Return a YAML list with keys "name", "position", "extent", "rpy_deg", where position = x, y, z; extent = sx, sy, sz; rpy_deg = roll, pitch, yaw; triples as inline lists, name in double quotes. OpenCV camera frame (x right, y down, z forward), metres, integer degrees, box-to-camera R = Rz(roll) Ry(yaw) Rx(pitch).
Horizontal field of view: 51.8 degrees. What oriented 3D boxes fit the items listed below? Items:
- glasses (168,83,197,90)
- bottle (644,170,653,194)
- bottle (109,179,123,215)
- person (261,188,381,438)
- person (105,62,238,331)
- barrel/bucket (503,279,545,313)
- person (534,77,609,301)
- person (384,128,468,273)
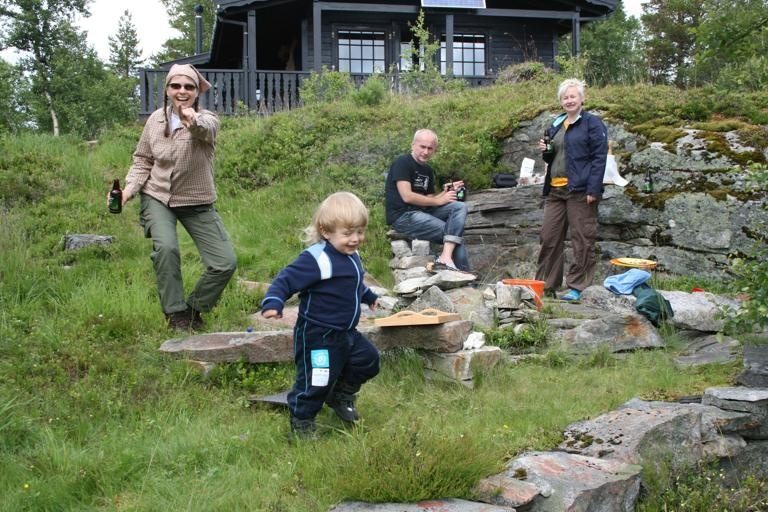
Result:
- name: "glasses"
  position: [-2.648, -2.212, 10.340]
  extent: [0.315, 0.089, 0.056]
  rpy_deg: [1, 7, -15]
- name: "bottle"
  position: [4.624, -1.284, 13.784]
  extent: [0.132, 0.432, 0.145]
  rpy_deg: [-6, 45, 6]
- name: "bottle"
  position: [-3.568, -0.802, 10.490]
  extent: [0.153, 0.437, 0.386]
  rpy_deg: [0, 8, -20]
- name: "person"
  position: [-0.675, 0.633, 8.934]
  extent: [1.211, 2.688, 0.472]
  rpy_deg: [-2, 8, -31]
- name: "person"
  position: [-2.732, -0.786, 10.596]
  extent: [1.458, 3.527, 0.755]
  rpy_deg: [1, 7, -7]
- name: "barrel/bucket"
  position: [2.161, 0.550, 12.183]
  extent: [0.621, 0.343, 0.949]
  rpy_deg: [4, 8, 11]
- name: "person"
  position: [2.908, -1.032, 12.301]
  extent: [1.029, 3.391, 0.458]
  rpy_deg: [7, 8, 36]
- name: "person"
  position: [0.674, -0.784, 12.684]
  extent: [1.437, 1.821, 0.827]
  rpy_deg: [4, 7, 15]
